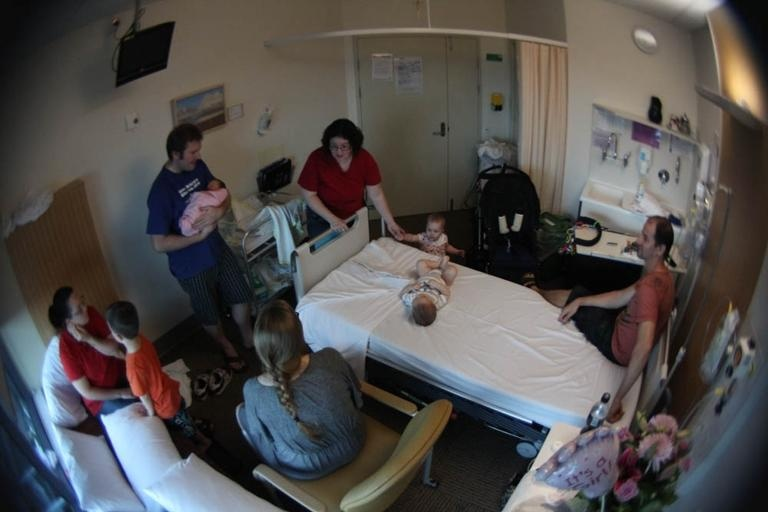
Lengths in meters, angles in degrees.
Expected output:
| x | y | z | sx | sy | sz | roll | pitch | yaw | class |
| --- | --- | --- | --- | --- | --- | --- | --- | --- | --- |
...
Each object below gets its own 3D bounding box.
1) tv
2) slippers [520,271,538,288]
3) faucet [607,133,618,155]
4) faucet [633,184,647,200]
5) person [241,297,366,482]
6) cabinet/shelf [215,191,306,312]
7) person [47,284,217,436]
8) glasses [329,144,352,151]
| x | y | z | sx | sy | sz | roll | pitch | yaw | class |
| --- | --- | --- | --- | --- | --- | --- | --- | --- | --- |
| -1.749 | -1.486 | 3.728 | 0.058 | 0.430 | 0.561 | 33 | 36 | 14 | tv |
| 1.329 | 0.217 | 4.697 | 0.085 | 0.112 | 0.255 | 11 | 40 | 16 | slippers |
| 1.525 | -0.744 | 3.422 | 0.067 | 0.164 | 0.148 | 8 | 19 | 23 | faucet |
| 1.676 | -0.425 | 3.366 | 0.065 | 0.093 | 0.091 | -2 | 2 | 11 | faucet |
| -0.452 | 0.828 | 3.075 | 0.609 | 0.918 | 0.686 | -26 | 45 | -7 | person |
| -1.060 | -0.019 | 4.358 | 0.504 | 0.677 | 0.677 | 28 | 48 | 28 | cabinet/shelf |
| -1.717 | 0.683 | 3.365 | 0.536 | 1.229 | 0.441 | -27 | 20 | 44 | person |
| -0.351 | -0.881 | 4.131 | 0.163 | 0.062 | 0.072 | -1 | 18 | -6 | glasses |
